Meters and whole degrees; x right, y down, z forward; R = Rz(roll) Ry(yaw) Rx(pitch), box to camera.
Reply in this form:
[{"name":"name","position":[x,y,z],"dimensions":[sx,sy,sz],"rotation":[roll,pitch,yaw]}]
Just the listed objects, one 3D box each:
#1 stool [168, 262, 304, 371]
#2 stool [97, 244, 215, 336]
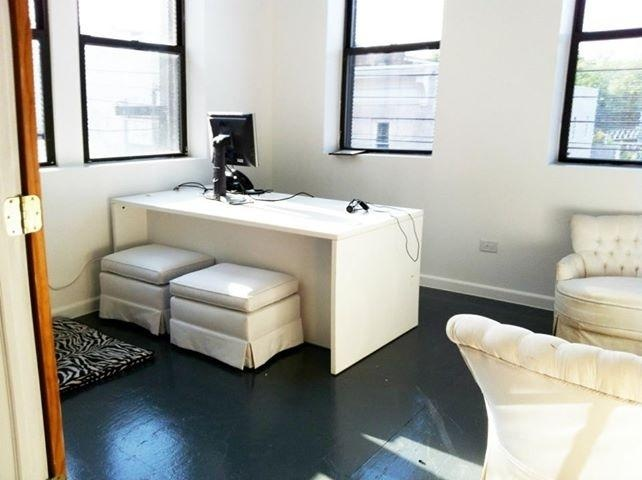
[{"name":"stool","position":[-0.608,0.467,3.403],"dimensions":[0.813,0.531,0.712],"rotation":[6,12,25]},{"name":"stool","position":[-1.251,0.316,3.719],"dimensions":[0.744,0.516,0.598],"rotation":[9,15,36]}]
